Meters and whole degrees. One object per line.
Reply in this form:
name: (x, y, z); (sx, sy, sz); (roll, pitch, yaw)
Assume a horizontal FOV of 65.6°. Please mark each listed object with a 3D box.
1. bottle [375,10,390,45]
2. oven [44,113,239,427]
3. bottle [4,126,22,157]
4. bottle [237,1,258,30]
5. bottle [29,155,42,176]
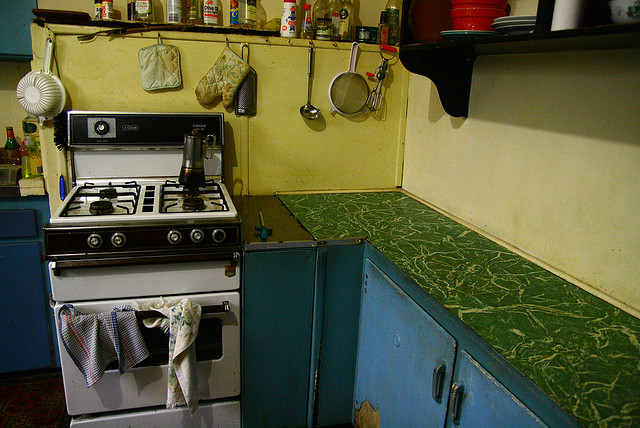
bottle: (0.369, -1.107, 2.954); (0.079, 0.201, 0.146); (0, 15, 13)
oven: (-0.853, 0.281, 2.558); (0.883, 1.575, 0.681); (-6, 15, -11)
bottle: (-1.852, -0.439, 2.979); (0.074, 0.171, 0.101); (8, 18, 36)
bottle: (-0.424, -1.134, 2.844); (0.097, 0.176, 0.107); (-19, 43, -32)
bottle: (-1.694, -0.293, 2.939); (0.070, 0.102, 0.042); (-14, 18, -35)
